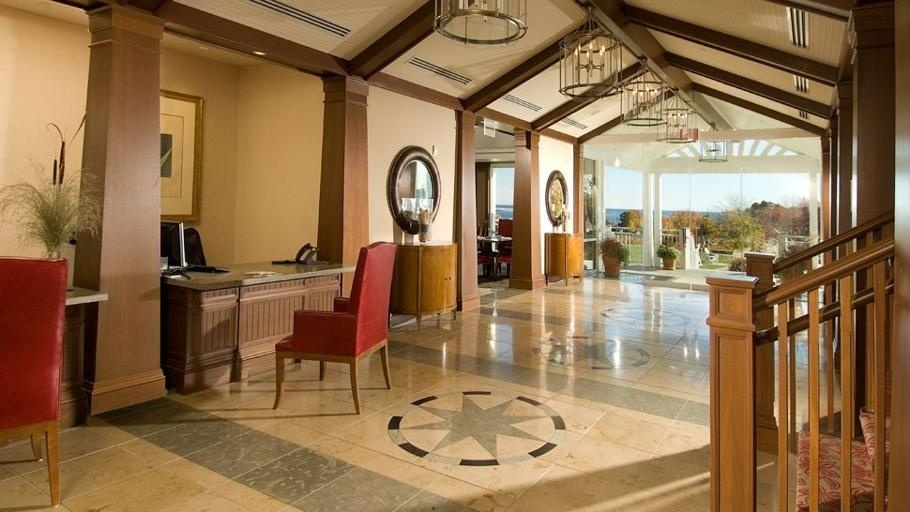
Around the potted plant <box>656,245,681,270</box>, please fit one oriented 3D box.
[{"bbox_3d":[5.032,0.034,13.750,0.630,0.557,0.544,1,-2,6],"label":"potted plant"}]

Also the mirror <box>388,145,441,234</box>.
[{"bbox_3d":[-0.700,-1.079,9.355,0.127,1.447,1.576,-1,2,31],"label":"mirror"}]

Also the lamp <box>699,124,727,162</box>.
[{"bbox_3d":[5.701,-2.405,12.732,0.731,1.038,0.707,0,3,25],"label":"lamp"}]

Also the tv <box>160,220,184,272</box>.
[{"bbox_3d":[-3.481,-0.134,7.120,0.250,0.557,0.221,-2,7,-18],"label":"tv"}]

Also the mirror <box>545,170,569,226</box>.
[{"bbox_3d":[2.276,-1.297,13.059,0.072,1.338,1.448,-2,-1,26],"label":"mirror"}]

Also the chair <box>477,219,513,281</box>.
[{"bbox_3d":[0.943,-0.155,13.761,0.784,1.352,2.127,1,7,3],"label":"chair"}]
